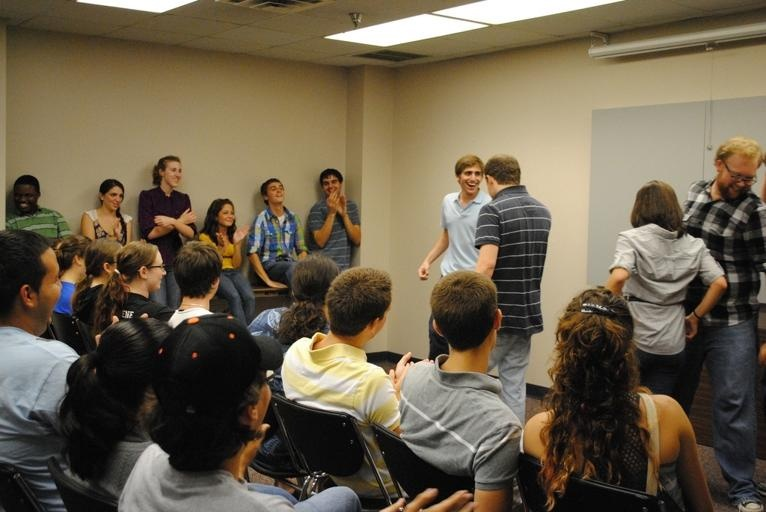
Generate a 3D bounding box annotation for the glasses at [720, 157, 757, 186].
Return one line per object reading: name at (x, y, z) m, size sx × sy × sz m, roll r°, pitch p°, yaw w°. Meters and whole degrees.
glasses at (2.375, -0.539, 3.563) m, size 0.260 × 0.161 × 0.131 m, roll 1°, pitch 6°, yaw -16°
